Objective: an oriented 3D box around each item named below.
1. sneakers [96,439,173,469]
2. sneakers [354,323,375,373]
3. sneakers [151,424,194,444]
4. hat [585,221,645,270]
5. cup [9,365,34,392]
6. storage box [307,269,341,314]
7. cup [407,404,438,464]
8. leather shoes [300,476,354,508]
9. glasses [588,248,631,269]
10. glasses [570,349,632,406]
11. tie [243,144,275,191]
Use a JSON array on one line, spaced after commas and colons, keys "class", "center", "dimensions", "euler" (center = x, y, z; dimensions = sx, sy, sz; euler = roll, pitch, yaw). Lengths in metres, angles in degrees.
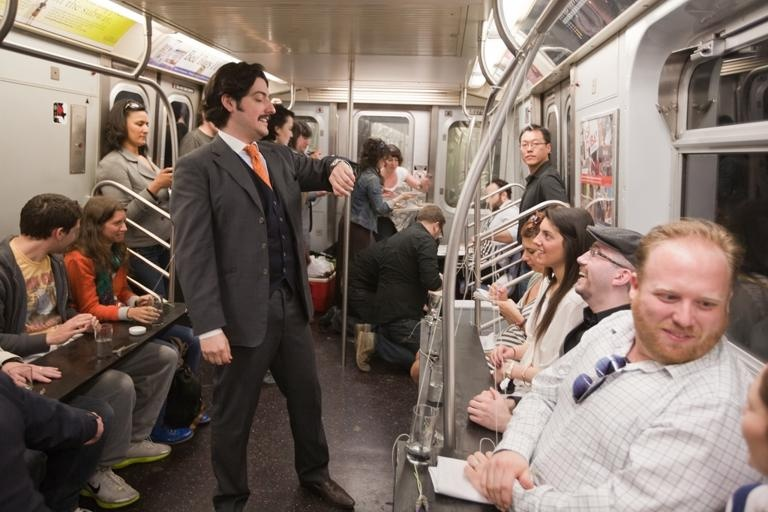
[{"class": "sneakers", "center": [-1.752, 1.416, 3.825], "dimensions": [0.457, 0.200, 0.155], "euler": [-7, 12, -22]}, {"class": "sneakers", "center": [-0.203, 0.951, 5.585], "dimensions": [0.217, 0.521, 0.159], "euler": [-2, -1, 11]}, {"class": "sneakers", "center": [-1.618, 1.369, 4.188], "dimensions": [0.313, 0.134, 0.121], "euler": [0, 6, -13]}, {"class": "hat", "center": [1.126, -0.081, 2.625], "dimensions": [0.258, 0.085, 0.196], "euler": [25, 8, -9]}, {"class": "cup", "center": [-1.965, 0.659, 2.932], "dimensions": [0.100, 0.079, 0.241], "euler": [-6, 16, -38]}, {"class": "storage box", "center": [-0.769, 0.499, 7.522], "dimensions": [0.425, 0.425, 0.684], "euler": [1, 12, 8]}, {"class": "cup", "center": [0.173, 0.815, 2.498], "dimensions": [0.116, 0.206, 0.217], "euler": [6, 13, 11]}, {"class": "leather shoes", "center": [-0.384, 1.551, 3.517], "dimensions": [0.339, 0.142, 0.118], "euler": [14, 15, 18]}, {"class": "glasses", "center": [1.098, 0.018, 2.624], "dimensions": [0.115, 0.036, 0.114], "euler": [25, 3, 3]}, {"class": "glasses", "center": [0.862, 0.487, 2.128], "dimensions": [0.072, 0.240, 0.088], "euler": [47, 3, 9]}, {"class": "tie", "center": [-0.728, -0.534, 3.189], "dimensions": [0.084, 0.360, 0.059], "euler": [-23, 0, 8]}]
